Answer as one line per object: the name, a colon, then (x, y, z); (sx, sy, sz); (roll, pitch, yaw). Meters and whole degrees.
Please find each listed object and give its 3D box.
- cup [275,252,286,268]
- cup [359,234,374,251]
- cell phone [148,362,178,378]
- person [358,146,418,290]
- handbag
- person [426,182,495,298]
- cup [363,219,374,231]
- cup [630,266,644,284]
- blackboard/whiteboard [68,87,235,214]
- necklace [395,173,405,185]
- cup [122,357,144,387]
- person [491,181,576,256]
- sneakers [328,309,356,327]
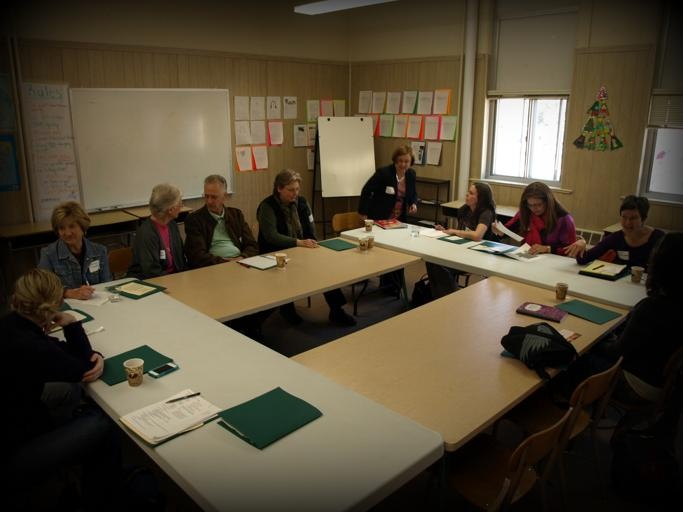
cup: (-0.488, 0.029, 3.772); (0.068, 0.086, 0.109); (0, -2, 19)
cup: (0.202, -0.155, 4.228); (0.124, 0.127, 0.165); (-13, 22, -29)
cell phone: (-0.902, 0.576, 2.370); (0.141, 0.029, 0.075); (-17, 22, -39)
person: (0.521, -0.428, 5.763); (0.681, 1.912, 0.596); (2, 30, -5)
handbag: (1.048, 0.483, 2.532); (0.229, 0.099, 0.267); (-19, 27, -29)
person: (1.205, -0.108, 4.683); (0.596, 1.217, 0.423); (-5, 11, -10)
cup: (0.252, -0.303, 4.647); (0.092, 0.093, 0.101); (0, 8, 0)
cup: (2.126, 0.137, 3.397); (0.099, 0.092, 0.107); (2, 5, 0)
blackboard/whiteboard: (-2.226, -1.185, 5.270); (1.614, 1.188, 0.053); (-12, 13, -43)
necklace: (0.664, -0.895, 5.503); (0.082, 0.101, 0.110); (-3, -9, -11)
cup: (-1.004, 0.558, 2.263); (0.108, 0.123, 0.116); (0, 6, 0)
person: (1.783, -0.206, 4.324); (0.615, 0.968, 0.485); (3, 32, 26)
sneakers: (-0.009, 0.579, 4.571); (0.254, 0.122, 0.128); (8, 17, 25)
